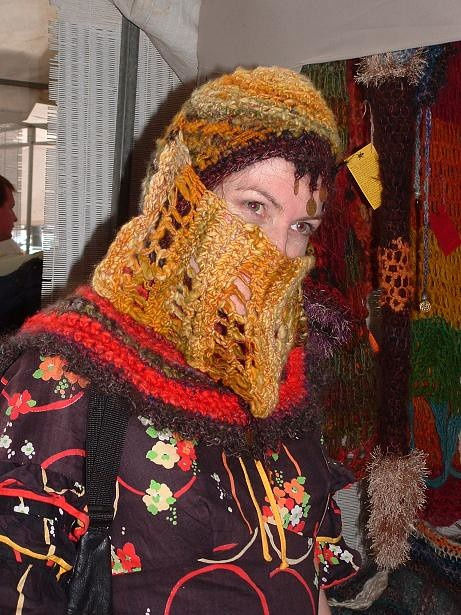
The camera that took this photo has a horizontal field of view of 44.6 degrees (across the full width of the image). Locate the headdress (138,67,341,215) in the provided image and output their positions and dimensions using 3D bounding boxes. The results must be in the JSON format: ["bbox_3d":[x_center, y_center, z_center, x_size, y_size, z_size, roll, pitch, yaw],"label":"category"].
[{"bbox_3d":[0.038,-0.287,0.860,0.215,0.166,0.169,8,7,17],"label":"headdress"}]
